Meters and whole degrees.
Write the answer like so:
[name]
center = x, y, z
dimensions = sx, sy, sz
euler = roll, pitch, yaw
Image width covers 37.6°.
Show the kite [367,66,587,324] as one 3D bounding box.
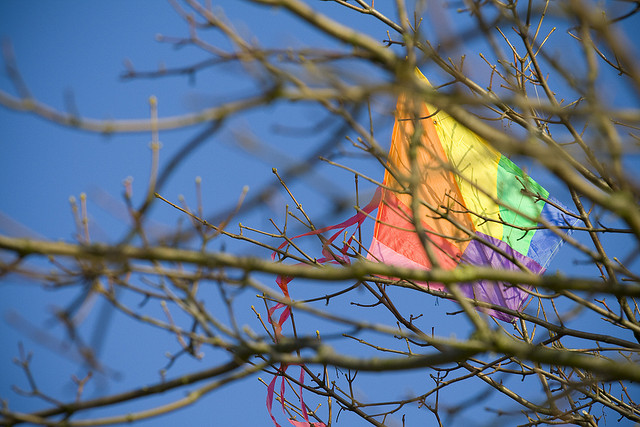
[kite]
center = 1.603, -0.170, 9.462
dimensions = 1.807, 1.691, 1.682
euler = -31, -100, -14
